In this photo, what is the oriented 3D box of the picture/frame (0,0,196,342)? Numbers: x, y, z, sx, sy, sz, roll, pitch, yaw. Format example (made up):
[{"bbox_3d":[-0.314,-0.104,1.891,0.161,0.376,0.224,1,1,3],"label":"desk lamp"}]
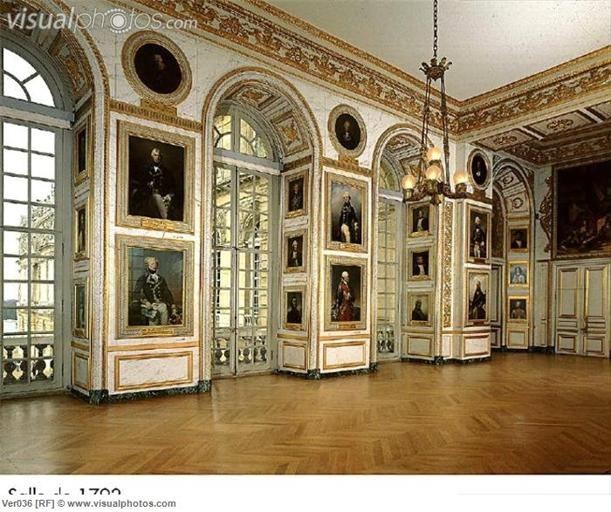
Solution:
[{"bbox_3d":[-2.837,-1.196,7.301,2.536,4.635,1.097,0,-4,-14],"label":"picture/frame"}]

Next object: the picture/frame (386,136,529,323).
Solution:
[{"bbox_3d":[3.300,-0.578,11.483,3.997,4.708,0.309,3,-6,-40],"label":"picture/frame"}]
